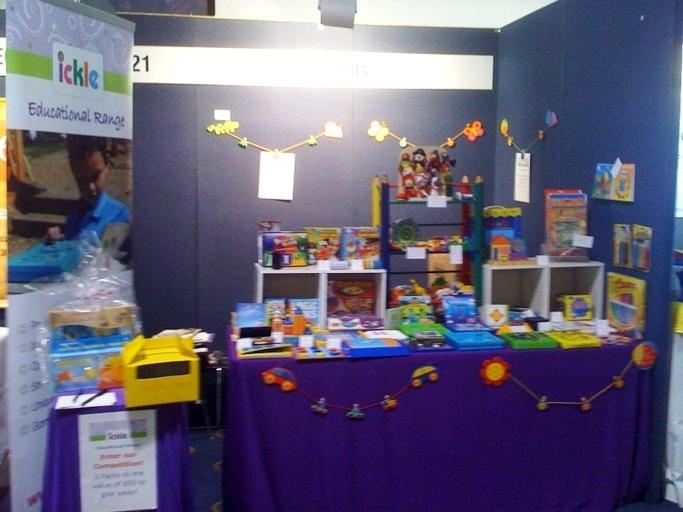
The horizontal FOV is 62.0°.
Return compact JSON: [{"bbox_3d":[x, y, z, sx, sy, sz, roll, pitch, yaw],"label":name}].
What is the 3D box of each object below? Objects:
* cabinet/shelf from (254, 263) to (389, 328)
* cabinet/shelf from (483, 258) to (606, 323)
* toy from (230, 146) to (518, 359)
[{"bbox_3d":[-0.083,0.224,3.826,0.825,0.408,0.414,2,-1,-20],"label":"cabinet/shelf"},{"bbox_3d":[1.418,0.213,3.980,0.816,0.539,0.410,0,1,-12],"label":"cabinet/shelf"},{"bbox_3d":[0.160,-0.036,4.073,1.553,1.347,0.501,-1,2,-11],"label":"toy"}]
